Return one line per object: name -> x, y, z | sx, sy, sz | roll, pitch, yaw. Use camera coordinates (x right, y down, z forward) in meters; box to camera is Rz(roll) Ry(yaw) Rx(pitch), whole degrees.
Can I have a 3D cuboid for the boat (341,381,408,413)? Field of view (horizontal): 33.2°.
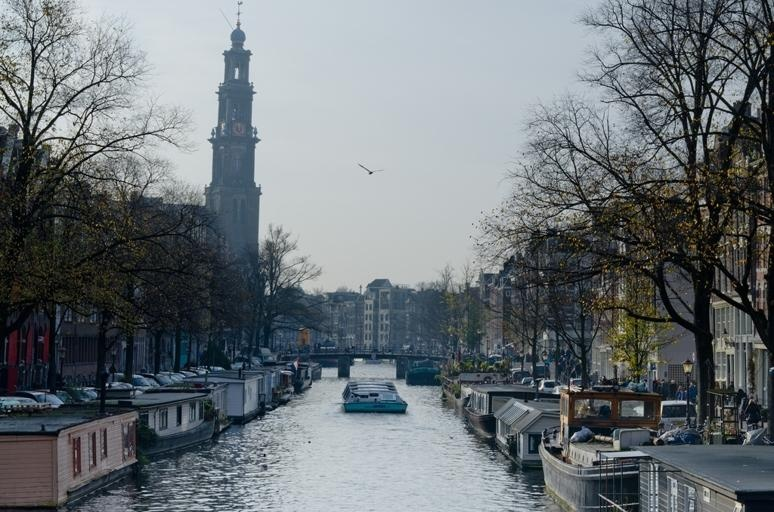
boat -> -1.030, 11.015, 100.288 | 4.739, 2.719, 4.671 | -1, -11, 1
